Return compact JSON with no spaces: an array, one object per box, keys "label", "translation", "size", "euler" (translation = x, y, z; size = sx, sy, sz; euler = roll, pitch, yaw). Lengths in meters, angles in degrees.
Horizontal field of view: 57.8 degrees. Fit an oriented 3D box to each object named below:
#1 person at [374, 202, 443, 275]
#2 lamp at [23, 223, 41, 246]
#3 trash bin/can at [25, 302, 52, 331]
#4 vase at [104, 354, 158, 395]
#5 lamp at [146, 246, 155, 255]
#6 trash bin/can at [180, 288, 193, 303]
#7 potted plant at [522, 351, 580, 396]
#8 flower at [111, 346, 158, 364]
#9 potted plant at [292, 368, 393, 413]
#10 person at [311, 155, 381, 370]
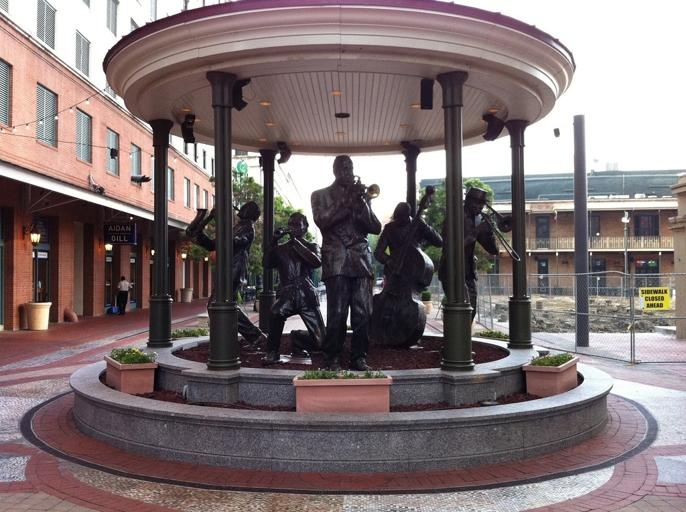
[{"label":"person","translation":[1.154,-0.319,11.043],"size":[0.408,1.557,0.823],"euler":[2,26,-46]},{"label":"lamp","translation":[-10.457,-0.768,21.189],"size":[0.662,0.921,0.541],"euler":[-1,-1,-6]},{"label":"trash bin/can","translation":[-10.176,2.017,20.929],"size":[0.882,0.952,0.837],"euler":[4,-8,-44]},{"label":"vase","translation":[-3.275,1.816,9.475],"size":[0.936,0.483,0.398],"euler":[0,0,20]},{"label":"lamp","translation":[-9.512,-0.297,30.768],"size":[0.398,0.145,0.585],"euler":[-1,13,-12]},{"label":"trash bin/can","translation":[-10.440,2.586,41.309],"size":[0.808,0.750,0.832],"euler":[-2,-3,21]},{"label":"potted plant","translation":[3.164,1.803,9.438],"size":[0.983,0.556,0.566],"euler":[0,0,-38]},{"label":"flower","translation":[-3.266,1.539,9.607],"size":[0.337,0.189,0.414],"euler":[7,-4,-33]},{"label":"potted plant","translation":[-0.015,1.747,7.986],"size":[1.224,0.469,0.375],"euler":[0,0,0]},{"label":"person","translation":[0.032,0.083,9.189],"size":[0.953,3.215,0.498],"euler":[0,0,-2]}]
